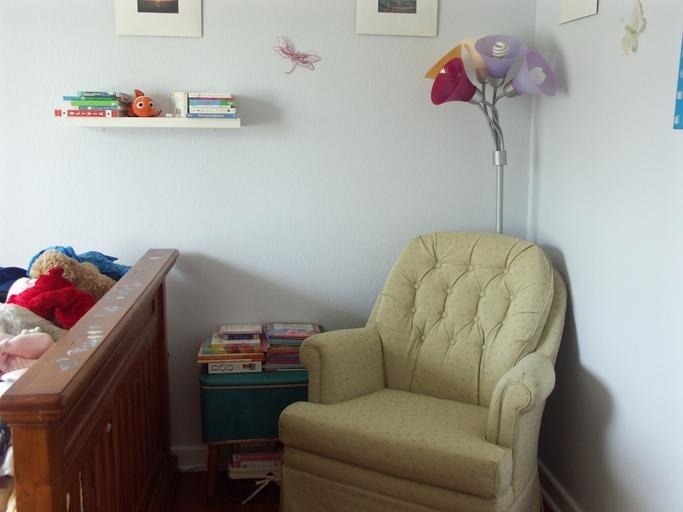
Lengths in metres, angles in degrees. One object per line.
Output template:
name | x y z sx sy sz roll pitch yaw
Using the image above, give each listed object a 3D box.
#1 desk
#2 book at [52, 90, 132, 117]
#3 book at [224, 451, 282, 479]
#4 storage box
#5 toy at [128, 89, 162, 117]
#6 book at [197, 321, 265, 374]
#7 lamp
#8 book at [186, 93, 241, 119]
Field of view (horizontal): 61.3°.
desk | -0.434 0.944 2.649 0.304 0.246 0.309 -1 -9 2
book | -1.103 -0.674 2.560 0.340 0.117 0.191 -6 15 -13
book | -0.390 0.954 2.628 0.152 0.044 0.157 0 6 0
storage box | -0.399 0.642 2.497 0.416 0.217 0.313 -1 7 -5
toy | -0.880 -0.665 2.615 0.124 0.137 0.140 -3 -1 -40
book | -0.482 0.405 2.574 0.212 0.111 0.228 -2 15 -5
lamp | 0.674 -0.534 2.636 0.566 0.881 0.413 0 15 9
book | -0.568 -0.669 2.565 0.202 0.115 0.203 2 6 -2
